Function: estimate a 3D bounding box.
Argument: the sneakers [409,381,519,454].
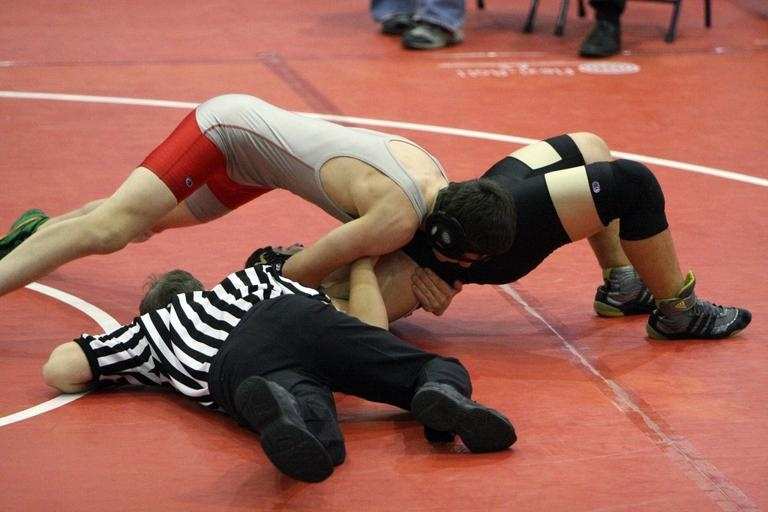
[{"bbox_3d":[0.263,0.459,2.089,0.325,0.198,0.111,29,28,-12],"label":"sneakers"}]

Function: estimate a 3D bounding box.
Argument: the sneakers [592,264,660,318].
[{"bbox_3d":[0.958,0.151,2.950,0.392,0.217,0.137,-4,26,-2],"label":"sneakers"}]

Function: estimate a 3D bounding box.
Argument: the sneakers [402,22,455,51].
[{"bbox_3d":[0.376,-1.885,5.769,0.466,0.171,0.224,-4,34,-6],"label":"sneakers"}]

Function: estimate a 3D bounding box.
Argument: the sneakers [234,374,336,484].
[{"bbox_3d":[-0.277,0.495,1.892,0.168,0.341,0.206,-19,34,-25],"label":"sneakers"}]

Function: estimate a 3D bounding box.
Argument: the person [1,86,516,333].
[{"bbox_3d":[-0.638,-0.200,2.702,2.228,0.816,0.834,15,21,3],"label":"person"}]

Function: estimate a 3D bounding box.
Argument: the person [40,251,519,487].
[{"bbox_3d":[-0.336,0.327,2.114,0.791,0.266,1.165,-6,14,-37],"label":"person"}]
